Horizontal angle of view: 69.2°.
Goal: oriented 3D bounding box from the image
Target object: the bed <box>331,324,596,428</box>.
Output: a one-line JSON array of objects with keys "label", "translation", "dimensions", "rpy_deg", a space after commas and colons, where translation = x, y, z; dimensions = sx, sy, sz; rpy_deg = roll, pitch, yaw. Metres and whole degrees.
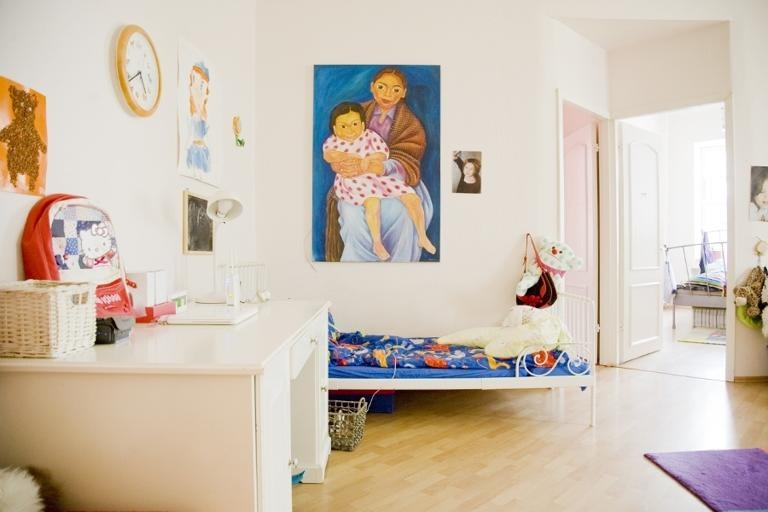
[{"label": "bed", "translation": [0.491, 0.883, 4.360], "dimensions": [1.843, 0.627, 0.631], "rpy_deg": [-1, 11, -4]}]

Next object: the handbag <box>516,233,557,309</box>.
[{"label": "handbag", "translation": [1.245, 0.149, 4.686], "dimensions": [0.287, 0.674, 0.157], "rpy_deg": [-2, 29, 24]}]

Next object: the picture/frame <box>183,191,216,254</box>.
[{"label": "picture/frame", "translation": [-1.234, -0.211, 3.742], "dimensions": [0.385, 0.401, 0.023], "rpy_deg": [7, 6, 43]}]

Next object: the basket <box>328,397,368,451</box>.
[{"label": "basket", "translation": [-0.262, 1.174, 3.909], "dimensions": [0.247, 0.252, 0.331], "rpy_deg": [2, 11, 10]}]

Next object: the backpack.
[{"label": "backpack", "translation": [-1.549, 0.005, 2.779], "dimensions": [0.384, 0.681, 0.513], "rpy_deg": [-3, 4, 7]}]

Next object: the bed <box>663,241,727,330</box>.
[{"label": "bed", "translation": [4.371, 0.291, 7.764], "dimensions": [1.148, 1.205, 1.837], "rpy_deg": [-2, 1, 30]}]
